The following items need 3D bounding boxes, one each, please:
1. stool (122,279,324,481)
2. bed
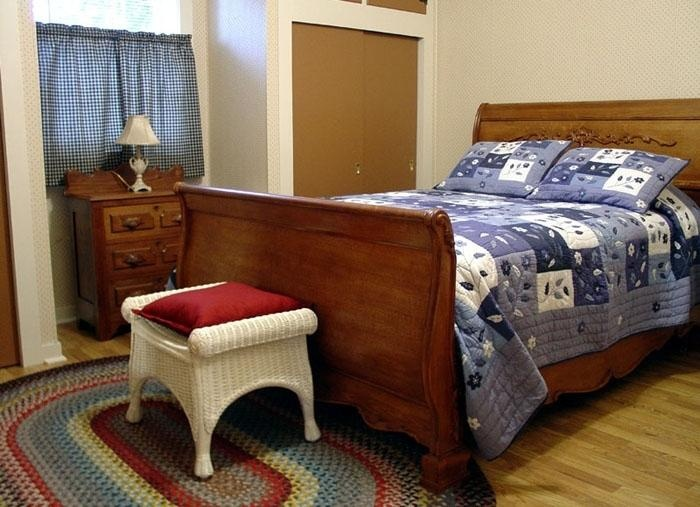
[{"bbox_3d":[-0.615,0.395,2.615,0.887,0.677,0.760,-8,14,-38],"label":"stool"},{"bbox_3d":[0.672,0.025,3.341,2.679,1.642,1.957,-8,13,-41],"label":"bed"}]
